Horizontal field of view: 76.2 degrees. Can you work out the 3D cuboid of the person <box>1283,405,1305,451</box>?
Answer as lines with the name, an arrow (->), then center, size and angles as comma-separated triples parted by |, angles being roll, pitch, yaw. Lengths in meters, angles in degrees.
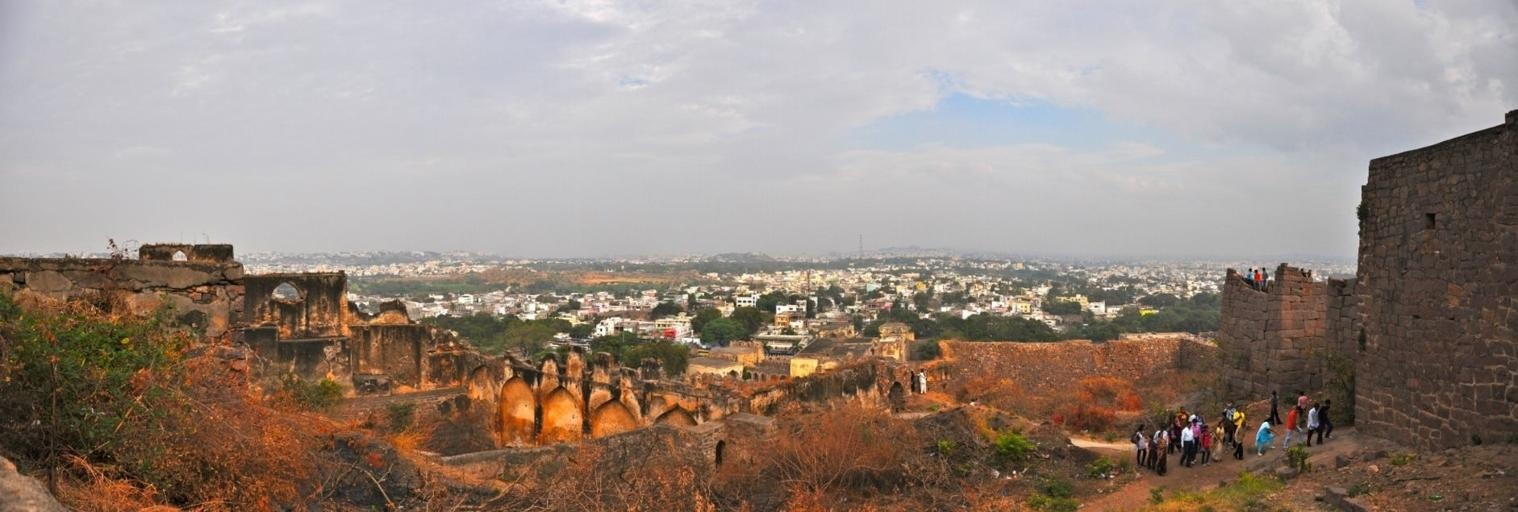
person -> 19.498, 6.278, 35.474 | 0.582, 1.344, 1.595 | -2, -1, 27

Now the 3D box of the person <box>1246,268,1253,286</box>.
person -> 19.899, 0.832, 39.149 | 0.298, 0.580, 0.859 | -2, -1, 28

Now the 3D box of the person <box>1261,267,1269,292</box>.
person -> 20.096, 0.907, 38.513 | 0.269, 0.810, 0.755 | -2, -1, 23

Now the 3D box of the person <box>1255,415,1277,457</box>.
person -> 18.817, 6.676, 35.929 | 0.593, 1.138, 1.237 | -2, -1, 32

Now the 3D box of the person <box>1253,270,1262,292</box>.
person -> 19.976, 0.972, 38.710 | 0.282, 0.706, 0.533 | -2, -1, 25

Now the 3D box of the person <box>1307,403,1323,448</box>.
person -> 20.116, 6.098, 35.092 | 0.515, 1.402, 0.660 | -2, -1, 25
